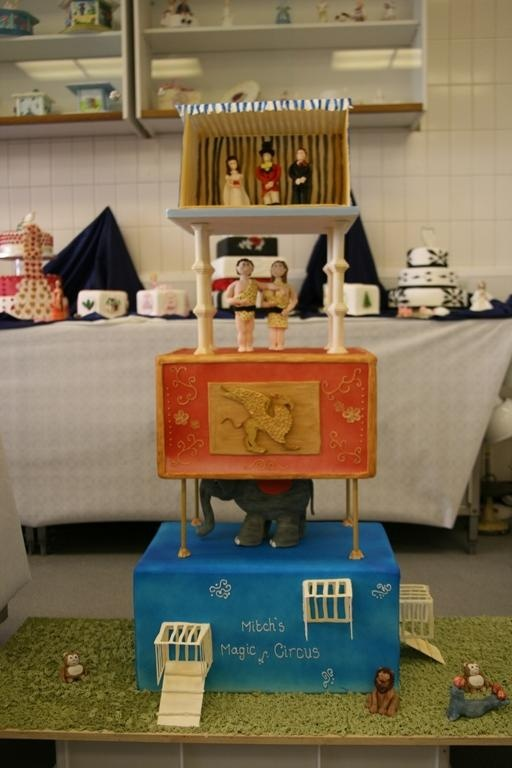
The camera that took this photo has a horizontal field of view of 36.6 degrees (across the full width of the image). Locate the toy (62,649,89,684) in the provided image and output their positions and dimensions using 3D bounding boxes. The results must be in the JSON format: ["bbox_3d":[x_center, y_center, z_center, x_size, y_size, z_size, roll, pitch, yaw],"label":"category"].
[{"bbox_3d":[-0.440,0.674,1.864,0.073,0.076,0.062,-1,-11,-35],"label":"toy"}]

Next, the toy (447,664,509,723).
[{"bbox_3d":[0.487,0.691,1.738,0.084,0.046,0.111,-6,12,7],"label":"toy"}]

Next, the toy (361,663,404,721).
[{"bbox_3d":[0.285,0.678,1.712,0.077,0.091,0.071,6,-3,-7],"label":"toy"}]

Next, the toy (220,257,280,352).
[{"bbox_3d":[-0.026,-0.199,1.944,0.095,0.230,0.171,-1,6,1],"label":"toy"}]

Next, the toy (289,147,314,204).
[{"bbox_3d":[0.114,-0.529,1.970,0.060,0.152,0.114,-1,6,2],"label":"toy"}]

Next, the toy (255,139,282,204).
[{"bbox_3d":[0.031,-0.536,1.949,0.065,0.190,0.180,-1,6,0],"label":"toy"}]
